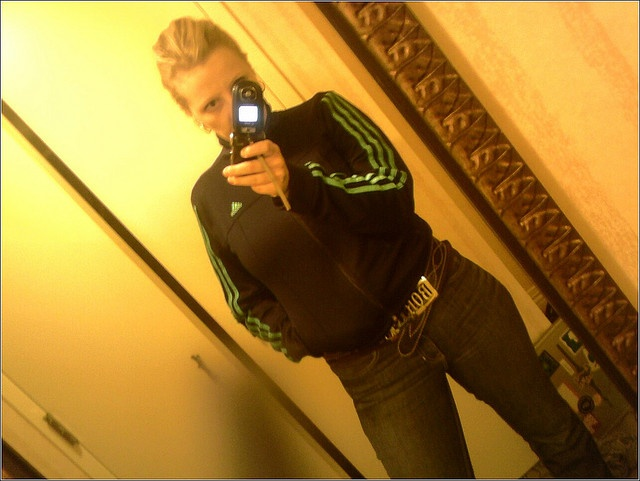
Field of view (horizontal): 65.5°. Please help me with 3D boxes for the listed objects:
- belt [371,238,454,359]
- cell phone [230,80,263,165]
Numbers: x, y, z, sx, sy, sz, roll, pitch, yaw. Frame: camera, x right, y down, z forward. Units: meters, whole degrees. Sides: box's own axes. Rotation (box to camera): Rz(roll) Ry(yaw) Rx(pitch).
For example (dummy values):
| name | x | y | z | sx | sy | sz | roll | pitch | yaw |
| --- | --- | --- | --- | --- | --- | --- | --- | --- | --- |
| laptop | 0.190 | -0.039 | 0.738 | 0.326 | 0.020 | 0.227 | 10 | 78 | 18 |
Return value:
| name | x | y | z | sx | sy | sz | roll | pitch | yaw |
| --- | --- | --- | --- | --- | --- | --- | --- | --- | --- |
| belt | 0.332 | 0.223 | 1.719 | 0.231 | 0.085 | 0.401 | -76 | 3 | -72 |
| cell phone | -0.189 | -0.346 | 1.286 | 0.091 | 0.048 | 0.194 | -13 | -38 | -11 |
